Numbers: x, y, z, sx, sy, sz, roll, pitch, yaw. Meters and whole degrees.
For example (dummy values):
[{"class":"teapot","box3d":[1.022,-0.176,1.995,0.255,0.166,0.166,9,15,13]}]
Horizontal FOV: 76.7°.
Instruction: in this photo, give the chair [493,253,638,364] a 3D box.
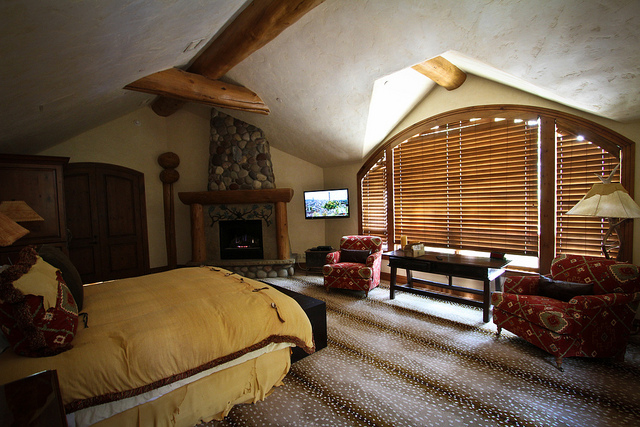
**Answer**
[{"class":"chair","box3d":[2.880,1.039,4.924,1.416,1.238,1.188,3,-3,-20]}]

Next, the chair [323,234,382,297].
[{"class":"chair","box3d":[0.566,0.850,6.796,0.899,0.848,0.973,1,2,36]}]

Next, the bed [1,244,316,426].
[{"class":"bed","box3d":[-1.712,1.201,4.070,2.217,1.338,2.182,-2,4,-39]}]
